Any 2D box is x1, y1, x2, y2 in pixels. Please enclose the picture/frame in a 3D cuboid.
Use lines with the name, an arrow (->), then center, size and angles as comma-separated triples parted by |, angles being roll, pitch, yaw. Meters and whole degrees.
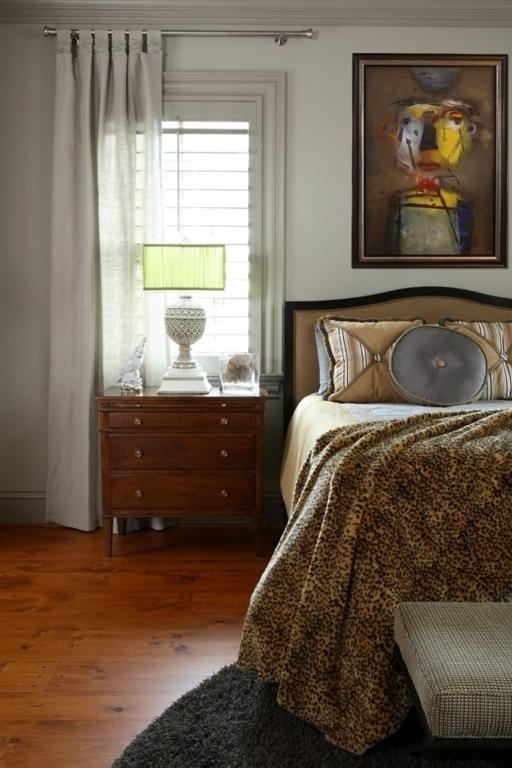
picture/frame -> 0.840, -1.161, 3.360 | 0.992, 1.413, 0.055 | 0, 2, -2

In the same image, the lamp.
lamp -> -0.323, -0.293, 3.050 | 0.350, 0.664, 0.256 | -2, 4, -10

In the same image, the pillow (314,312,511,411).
pillow -> 0.694, -0.115, 2.972 | 0.846, 0.382, 0.450 | -1, 4, 4

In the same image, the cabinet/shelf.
cabinet/shelf -> -0.328, 0.330, 3.166 | 0.723, 0.681, 0.474 | 0, 12, -2
